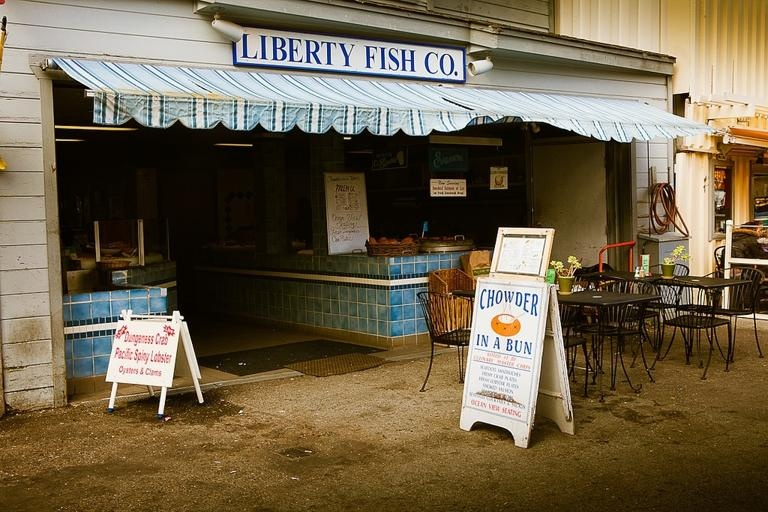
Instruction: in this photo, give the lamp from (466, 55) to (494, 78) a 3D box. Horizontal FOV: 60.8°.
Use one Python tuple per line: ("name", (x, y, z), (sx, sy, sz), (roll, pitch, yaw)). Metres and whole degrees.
("lamp", (1.644, -3.131, 10.800), (0.514, 0.327, 0.243), (-8, 13, -30))
